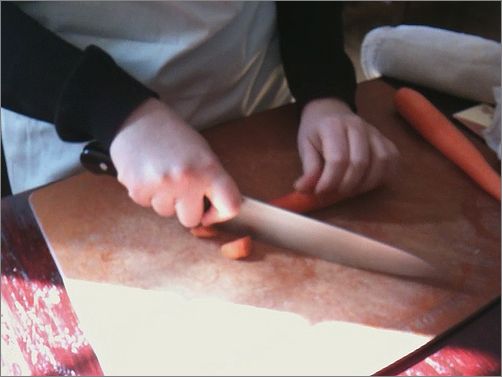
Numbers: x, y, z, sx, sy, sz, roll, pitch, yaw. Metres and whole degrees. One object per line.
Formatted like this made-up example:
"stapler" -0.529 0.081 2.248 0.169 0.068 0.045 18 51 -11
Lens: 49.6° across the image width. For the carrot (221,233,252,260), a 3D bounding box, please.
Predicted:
"carrot" -0.042 0.181 1.617 0.075 0.050 0.064 -12 16 42
